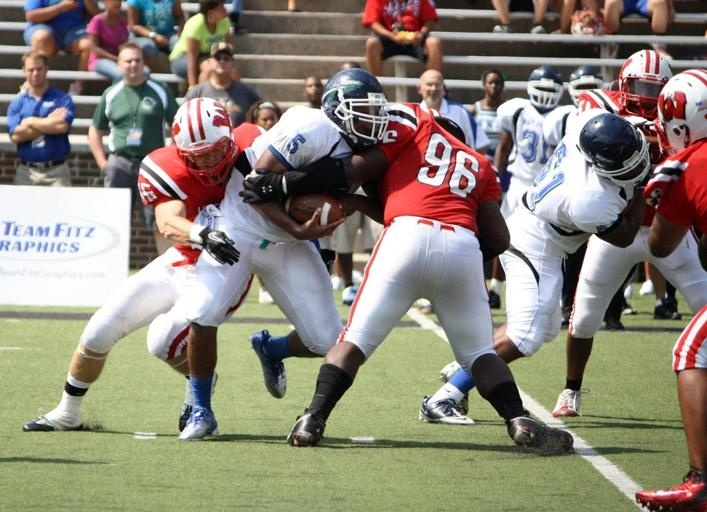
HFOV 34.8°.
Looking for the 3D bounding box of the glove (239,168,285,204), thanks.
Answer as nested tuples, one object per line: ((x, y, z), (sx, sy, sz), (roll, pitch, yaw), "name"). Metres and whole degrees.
((-0.515, -0.405, 6.485), (0.266, 0.194, 0.135), (1, 9, 1), "glove")

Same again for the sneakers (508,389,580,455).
((1.037, 0.965, 6.410), (0.491, 0.183, 0.218), (25, -21, -12), "sneakers")

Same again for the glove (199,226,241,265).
((-0.771, -0.054, 6.547), (0.094, 0.230, 0.172), (-28, 30, 36), "glove")

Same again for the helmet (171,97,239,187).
((-0.848, -0.676, 6.605), (0.330, 0.465, 0.468), (-21, 35, 10), "helmet")

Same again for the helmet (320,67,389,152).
((-0.034, -0.874, 6.558), (0.347, 0.423, 0.449), (7, 11, -41), "helmet")

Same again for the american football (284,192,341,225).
((-0.230, -0.281, 6.495), (0.257, 0.137, 0.171), (3, 6, 14), "american football")
